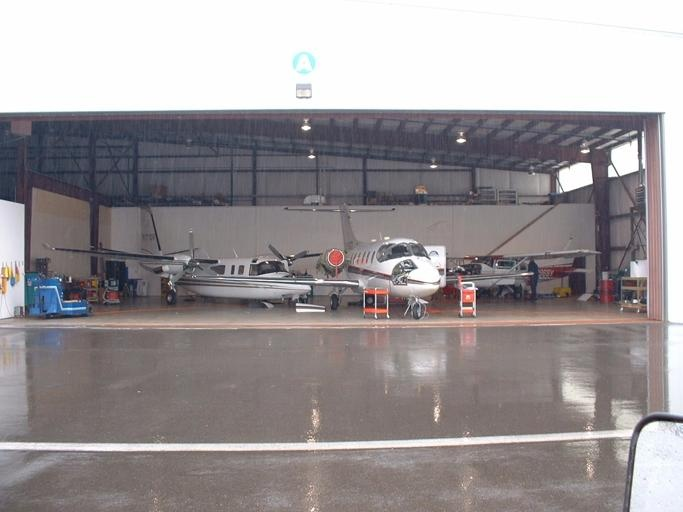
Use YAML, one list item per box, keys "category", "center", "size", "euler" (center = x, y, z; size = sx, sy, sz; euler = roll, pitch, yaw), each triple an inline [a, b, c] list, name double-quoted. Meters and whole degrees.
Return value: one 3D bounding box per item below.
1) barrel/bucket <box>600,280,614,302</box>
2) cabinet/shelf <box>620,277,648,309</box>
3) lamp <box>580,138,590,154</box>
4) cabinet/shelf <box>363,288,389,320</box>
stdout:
- category: "barrel/bucket"
  center: [10.042, 1.325, 33.615]
  size: [0.491, 0.852, 1.021]
  euler: [3, 13, 17]
- category: "cabinet/shelf"
  center: [9.484, 1.182, 29.330]
  size: [0.533, 1.087, 0.824]
  euler: [3, 8, 21]
- category: "lamp"
  center: [9.184, -4.155, 33.589]
  size: [0.484, 0.624, 0.515]
  euler: [2, 3, 23]
- category: "cabinet/shelf"
  center: [1.156, 1.472, 27.490]
  size: [0.741, 1.399, 0.858]
  euler: [2, -7, -17]
